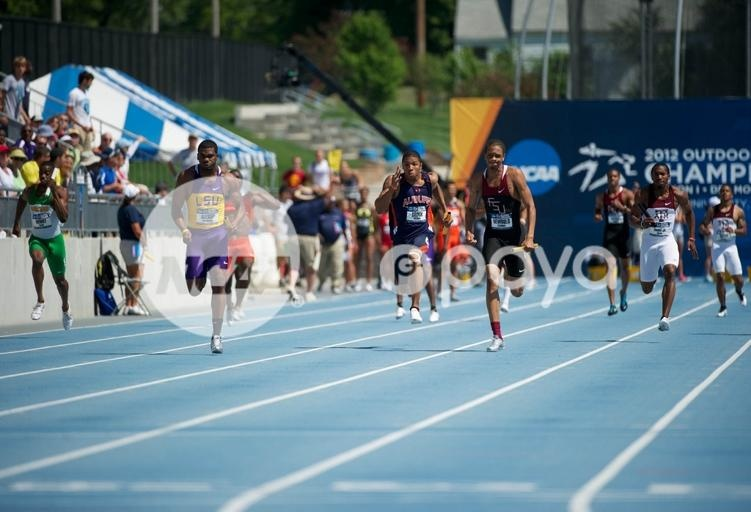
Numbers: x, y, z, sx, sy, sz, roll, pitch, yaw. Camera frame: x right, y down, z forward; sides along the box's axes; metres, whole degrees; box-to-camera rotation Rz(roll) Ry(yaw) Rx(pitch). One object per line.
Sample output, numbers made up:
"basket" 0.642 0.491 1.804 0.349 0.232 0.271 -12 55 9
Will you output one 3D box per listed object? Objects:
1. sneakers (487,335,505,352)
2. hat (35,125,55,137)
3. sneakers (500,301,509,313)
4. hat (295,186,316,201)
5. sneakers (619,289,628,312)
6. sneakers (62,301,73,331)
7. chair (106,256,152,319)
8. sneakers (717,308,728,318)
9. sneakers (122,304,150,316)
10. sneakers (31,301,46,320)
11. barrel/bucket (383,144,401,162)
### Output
"sneakers" 1.772 1.300 15.550 0.129 0.175 0.355 -2 -4 22
"hat" -6.904 -2.607 21.965 0.351 0.176 0.503 0 4 -28
"sneakers" 2.361 0.929 19.323 0.114 0.183 0.402 -2 -14 5
"hat" -1.548 -1.339 22.712 0.460 0.294 0.306 -2 4 -5
"sneakers" 4.894 0.879 20.799 0.157 0.534 0.207 1 0 22
"sneakers" -5.210 1.014 17.683 0.157 0.524 0.195 -4 8 4
"chair" -4.916 0.515 19.981 0.971 1.456 0.843 -1 0 1
"sneakers" 6.578 1.081 20.070 0.089 0.201 0.272 -4 -1 43
"sneakers" -4.617 1.021 20.147 0.481 0.229 0.186 0 2 -16
"sneakers" -5.747 0.907 17.813 0.187 0.239 0.580 5 23 -6
"barrel/bucket" 0.656 -4.593 46.603 0.706 0.894 0.760 1 2 0
